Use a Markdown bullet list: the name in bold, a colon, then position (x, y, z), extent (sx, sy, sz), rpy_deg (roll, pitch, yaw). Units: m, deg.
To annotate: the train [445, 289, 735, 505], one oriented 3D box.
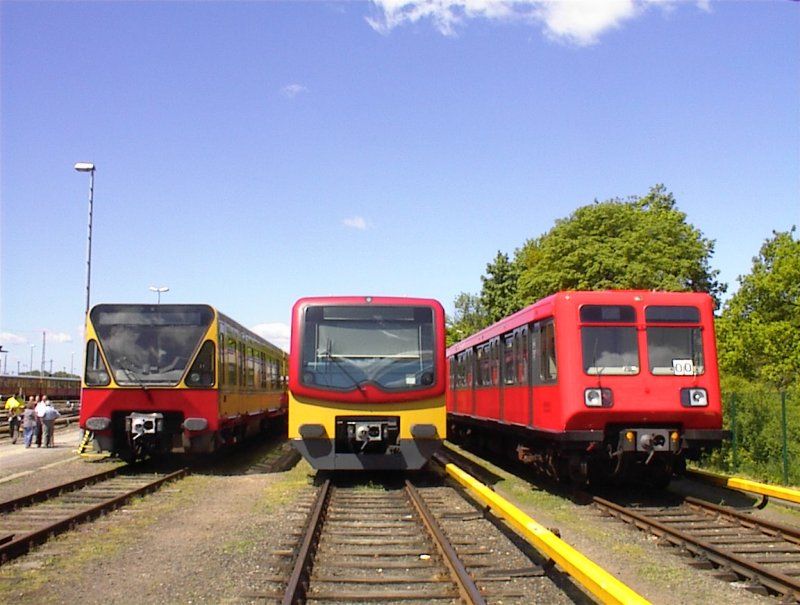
- **train**: position (3.794, 2.686, 17.032), extent (3.072, 3.919, 13.811), rpy_deg (-1, -9, -4)
